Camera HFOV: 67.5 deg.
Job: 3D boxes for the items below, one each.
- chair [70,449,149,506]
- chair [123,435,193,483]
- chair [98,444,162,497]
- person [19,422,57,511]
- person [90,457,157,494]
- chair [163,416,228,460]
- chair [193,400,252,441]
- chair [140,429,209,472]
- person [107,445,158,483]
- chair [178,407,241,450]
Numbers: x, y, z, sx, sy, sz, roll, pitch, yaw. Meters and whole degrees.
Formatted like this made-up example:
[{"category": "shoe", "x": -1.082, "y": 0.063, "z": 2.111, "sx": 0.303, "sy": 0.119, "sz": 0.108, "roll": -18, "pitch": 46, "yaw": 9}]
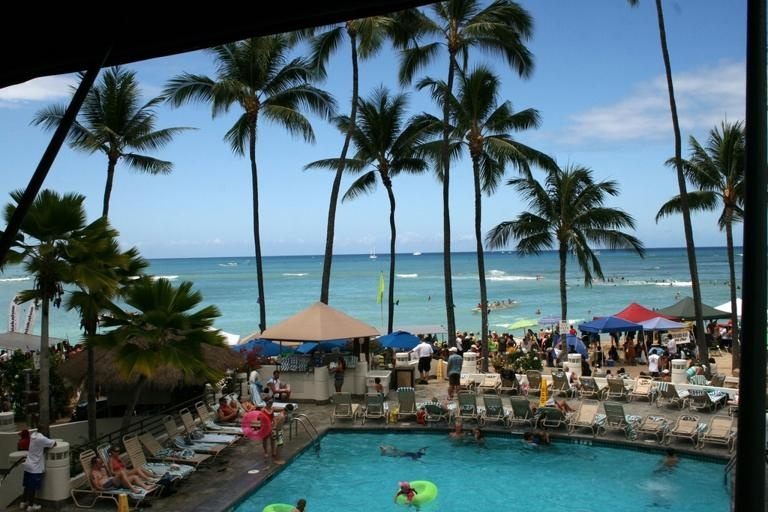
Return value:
[{"category": "chair", "x": -6.156, "y": 5.151, "z": 13.356, "sx": 1.810, "sy": 1.158, "sz": 1.037, "roll": 4, "pitch": -1, "yaw": 8}, {"category": "chair", "x": -5.563, "y": 4.990, "z": 14.175, "sx": 1.564, "sy": 1.019, "sz": 0.875, "roll": 5, "pitch": -6, "yaw": -3}, {"category": "chair", "x": -5.946, "y": 4.913, "z": 13.345, "sx": 1.377, "sy": 0.861, "sz": 0.532, "roll": -5, "pitch": 7, "yaw": 42}, {"category": "person", "x": -7.688, "y": 4.766, "z": 12.698, "sx": 0.612, "sy": 1.679, "sz": 0.486, "roll": -6, "pitch": -7, "yaw": 33}, {"category": "person", "x": -5.997, "y": 5.010, "z": 13.225, "sx": 1.412, "sy": 0.789, "sz": 0.625, "roll": 2, "pitch": 5, "yaw": 1}, {"category": "chair", "x": -5.162, "y": 4.863, "z": 15.754, "sx": 1.816, "sy": 0.929, "sz": 1.019, "roll": -4, "pitch": 5, "yaw": 29}, {"category": "chair", "x": -4.886, "y": 5.061, "z": 17.459, "sx": 1.556, "sy": 1.029, "sz": 0.904, "roll": 8, "pitch": -8, "yaw": -7}, {"category": "chair", "x": -5.425, "y": 5.092, "z": 14.960, "sx": 1.733, "sy": 0.689, "sz": 0.858, "roll": 9, "pitch": 0, "yaw": -4}, {"category": "person", "x": -5.888, "y": 4.929, "z": 13.470, "sx": 1.174, "sy": 0.784, "sz": 0.447, "roll": -2, "pitch": -9, "yaw": 4}, {"category": "chair", "x": -5.067, "y": 4.941, "z": 16.472, "sx": 1.454, "sy": 0.988, "sz": 0.797, "roll": 5, "pitch": -2, "yaw": -2}]
